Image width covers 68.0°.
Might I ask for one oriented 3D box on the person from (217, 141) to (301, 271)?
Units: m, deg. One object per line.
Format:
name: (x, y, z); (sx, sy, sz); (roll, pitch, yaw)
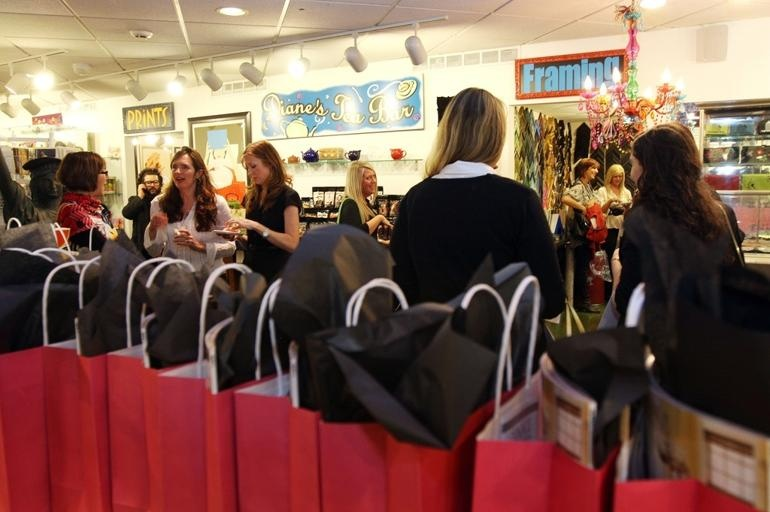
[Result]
person: (-0.659, -0.251, 3.204); (0.380, 0.764, 0.492); (-3, 11, -8)

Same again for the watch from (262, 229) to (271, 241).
watch: (-0.620, -0.111, 3.030); (0.034, 0.058, 0.056); (4, 13, -8)

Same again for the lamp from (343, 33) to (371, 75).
lamp: (-0.273, -1.760, 5.010); (0.135, 0.265, 0.253); (-1, -20, -11)

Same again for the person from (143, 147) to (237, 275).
person: (-1.084, -0.192, 3.208); (0.499, 0.764, 0.403); (0, 18, -8)

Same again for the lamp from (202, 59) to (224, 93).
lamp: (-1.825, -1.898, 6.051); (0.157, 0.316, 1.006); (-4, 12, -14)

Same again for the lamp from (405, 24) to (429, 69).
lamp: (0.253, -1.781, 4.835); (0.127, 0.244, 0.234); (14, 56, 27)

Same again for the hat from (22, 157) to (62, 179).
hat: (-2.180, -0.568, 3.672); (0.248, 0.105, 0.257); (-3, 1, 4)

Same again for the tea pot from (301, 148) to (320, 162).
tea pot: (-0.827, -1.126, 6.366); (0.174, 0.125, 0.122); (-15, 20, -37)

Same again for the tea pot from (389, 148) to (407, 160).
tea pot: (0.130, -1.077, 6.045); (0.139, 0.106, 0.117); (8, 11, 12)

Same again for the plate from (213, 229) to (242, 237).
plate: (-0.811, -0.117, 2.998); (0.125, 0.044, 0.071); (-7, 13, -25)

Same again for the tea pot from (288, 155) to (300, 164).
tea pot: (-1.033, -1.095, 6.516); (0.092, 0.089, 0.126); (-9, 20, -39)
